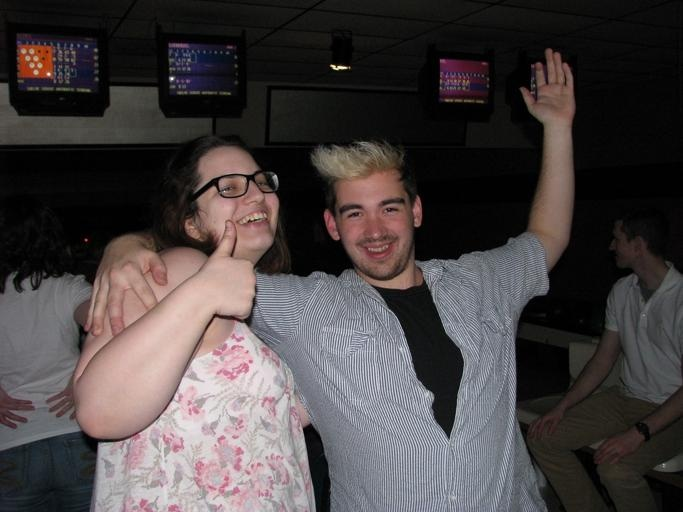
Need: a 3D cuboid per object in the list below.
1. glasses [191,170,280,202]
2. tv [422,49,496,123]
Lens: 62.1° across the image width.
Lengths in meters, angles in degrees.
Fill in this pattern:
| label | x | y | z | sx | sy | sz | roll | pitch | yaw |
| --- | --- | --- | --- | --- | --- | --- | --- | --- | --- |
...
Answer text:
| label | x | y | z | sx | sy | sz | roll | pitch | yaw |
| --- | --- | --- | --- | --- | --- | --- | --- | --- | --- |
| glasses | -0.335 | -0.253 | 2.016 | 0.177 | 0.100 | 0.383 | 8 | 15 | 29 |
| tv | 1.039 | -1.537 | 5.070 | 0.558 | 0.552 | 0.284 | -2 | 12 | -17 |
